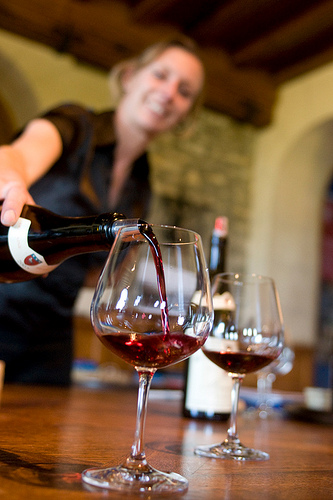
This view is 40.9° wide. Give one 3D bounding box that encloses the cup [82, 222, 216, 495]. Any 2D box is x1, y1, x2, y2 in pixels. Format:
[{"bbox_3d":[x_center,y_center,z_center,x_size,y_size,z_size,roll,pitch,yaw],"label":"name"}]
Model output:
[{"bbox_3d":[-0.018,0.077,0.336,0.099,0.194,0.136,4,1,6],"label":"cup"}]
